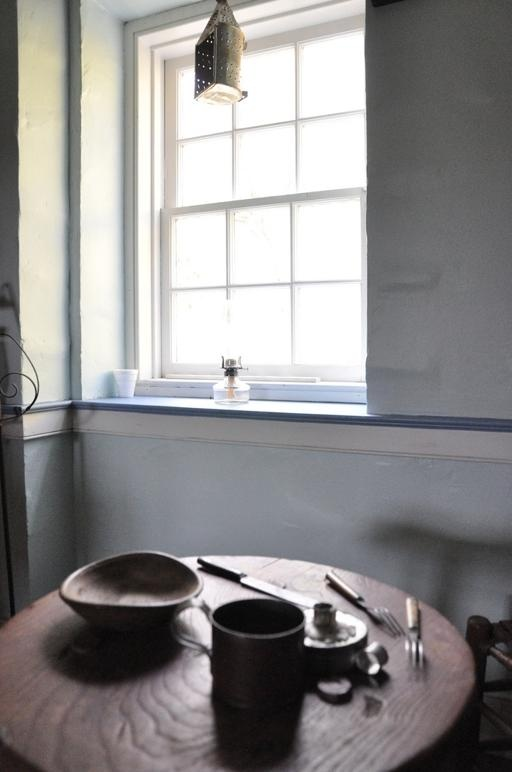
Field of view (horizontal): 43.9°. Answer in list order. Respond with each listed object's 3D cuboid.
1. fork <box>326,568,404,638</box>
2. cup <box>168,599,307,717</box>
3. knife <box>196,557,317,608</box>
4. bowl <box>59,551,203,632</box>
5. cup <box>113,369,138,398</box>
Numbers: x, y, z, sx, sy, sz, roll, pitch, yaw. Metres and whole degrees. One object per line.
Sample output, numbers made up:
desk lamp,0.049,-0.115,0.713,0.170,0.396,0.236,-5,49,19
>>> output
fork,0.167,0.315,0.957,0.029,0.031,0.179,3,12,-16
cup,0.001,0.302,0.721,0.106,0.091,0.100,1,7,0
knife,-0.001,0.281,1.013,0.064,0.022,0.244,-7,9,-40
bowl,-0.172,0.294,0.888,0.172,0.051,0.212,5,4,14
cup,-0.451,-0.013,2.259,0.088,0.102,0.092,0,-1,0
